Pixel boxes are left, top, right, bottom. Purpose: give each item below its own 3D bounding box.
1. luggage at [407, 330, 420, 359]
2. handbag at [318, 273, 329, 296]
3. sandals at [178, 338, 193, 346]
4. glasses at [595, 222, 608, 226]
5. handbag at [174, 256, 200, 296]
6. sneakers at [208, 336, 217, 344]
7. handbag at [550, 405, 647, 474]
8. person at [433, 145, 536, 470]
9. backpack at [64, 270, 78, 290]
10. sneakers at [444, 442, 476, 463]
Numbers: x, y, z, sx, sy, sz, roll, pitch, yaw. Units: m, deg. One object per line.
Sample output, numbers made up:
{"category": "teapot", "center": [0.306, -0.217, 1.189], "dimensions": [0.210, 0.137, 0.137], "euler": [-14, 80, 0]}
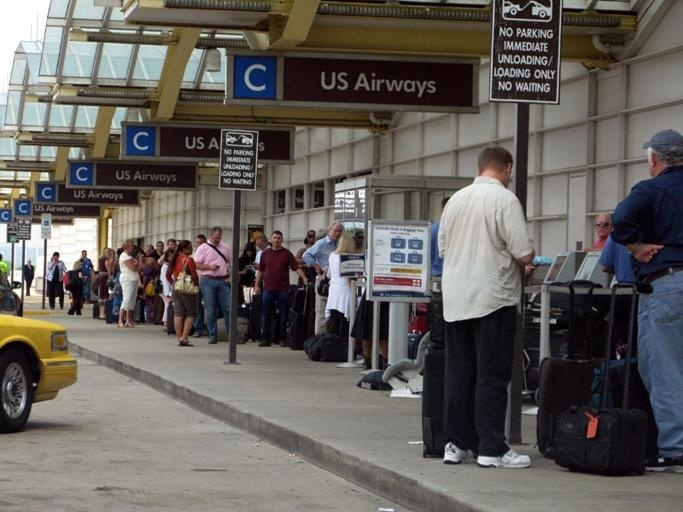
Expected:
{"category": "luggage", "center": [0.986, 1.208, 17.750], "dimensions": [0.207, 0.259, 0.272], "euler": [0, -34, 1]}
{"category": "handbag", "center": [-0.302, 0.461, 21.306], "dimensions": [0.162, 0.325, 0.518], "euler": [2, -3, -4]}
{"category": "sandals", "center": [-2.761, 1.501, 23.141], "dimensions": [0.118, 0.082, 0.214], "euler": [2, 2, 28]}
{"category": "glasses", "center": [3.495, -0.436, 17.346], "dimensions": [0.145, 0.065, 0.078], "euler": [1, -3, 17]}
{"category": "handbag", "center": [-2.805, 0.348, 23.596], "dimensions": [0.310, 0.723, 0.582], "euler": [-2, -16, 30]}
{"category": "sneakers", "center": [-2.388, 1.518, 24.045], "dimensions": [0.125, 0.134, 0.331], "euler": [0, 3, -1]}
{"category": "handbag", "center": [2.346, 1.602, 11.749], "dimensions": [0.606, 0.669, 0.831], "euler": [6, -5, -45]}
{"category": "person", "center": [1.318, 0.437, 11.982], "dimensions": [0.873, 2.932, 0.384], "euler": [2, -3, 10]}
{"category": "backpack", "center": [-7.926, 0.662, 37.989], "dimensions": [0.291, 0.390, 0.508], "euler": [27, 16, -19]}
{"category": "sneakers", "center": [1.125, 1.803, 12.107], "dimensions": [0.348, 0.150, 0.132], "euler": [-1, 2, -42]}
